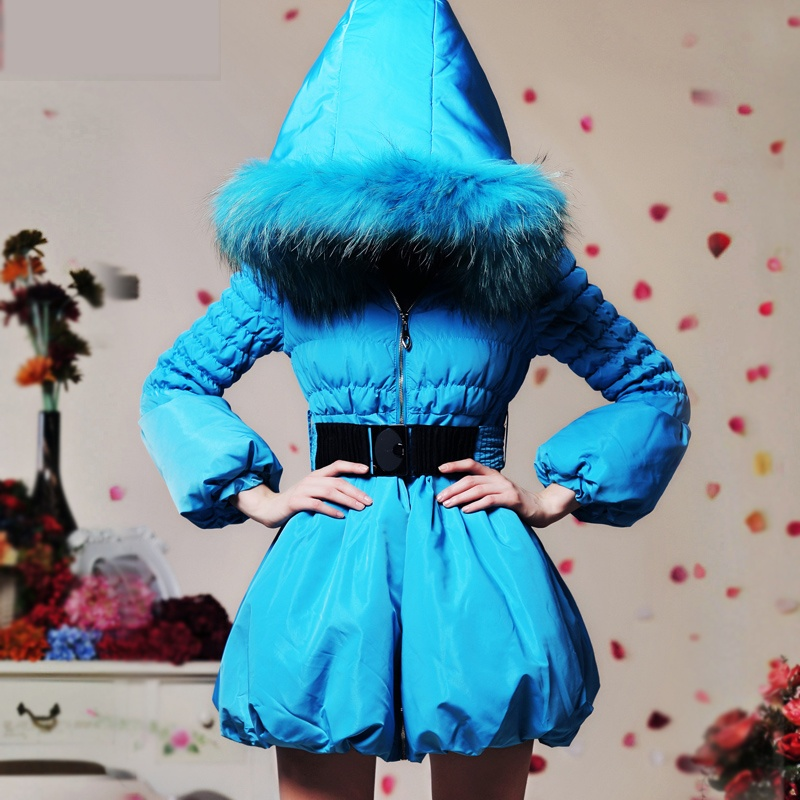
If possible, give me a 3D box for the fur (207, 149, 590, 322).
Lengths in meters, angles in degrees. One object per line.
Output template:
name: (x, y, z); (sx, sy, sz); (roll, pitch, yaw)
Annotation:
fur: (-0.009, -0.310, 3.544); (0.448, 0.187, 0.377); (5, -13, -10)
